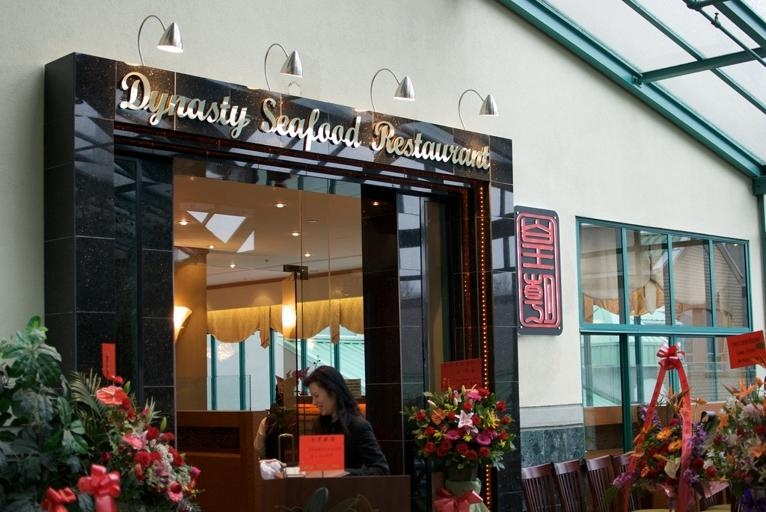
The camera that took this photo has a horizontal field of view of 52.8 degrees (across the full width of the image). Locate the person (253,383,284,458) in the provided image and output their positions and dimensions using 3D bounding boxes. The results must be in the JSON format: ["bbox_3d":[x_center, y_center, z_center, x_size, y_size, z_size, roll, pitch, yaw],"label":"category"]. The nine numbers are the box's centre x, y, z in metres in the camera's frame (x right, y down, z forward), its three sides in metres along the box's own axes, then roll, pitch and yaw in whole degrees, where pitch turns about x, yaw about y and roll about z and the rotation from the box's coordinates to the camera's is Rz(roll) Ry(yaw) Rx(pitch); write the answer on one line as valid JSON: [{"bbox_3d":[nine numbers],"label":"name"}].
[{"bbox_3d":[-1.137,1.659,7.782,0.158,0.739,0.403,6,-12,-39],"label":"person"}]

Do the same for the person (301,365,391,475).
[{"bbox_3d":[-0.315,1.389,6.579,0.653,0.903,0.389,-10,-13,40],"label":"person"}]
